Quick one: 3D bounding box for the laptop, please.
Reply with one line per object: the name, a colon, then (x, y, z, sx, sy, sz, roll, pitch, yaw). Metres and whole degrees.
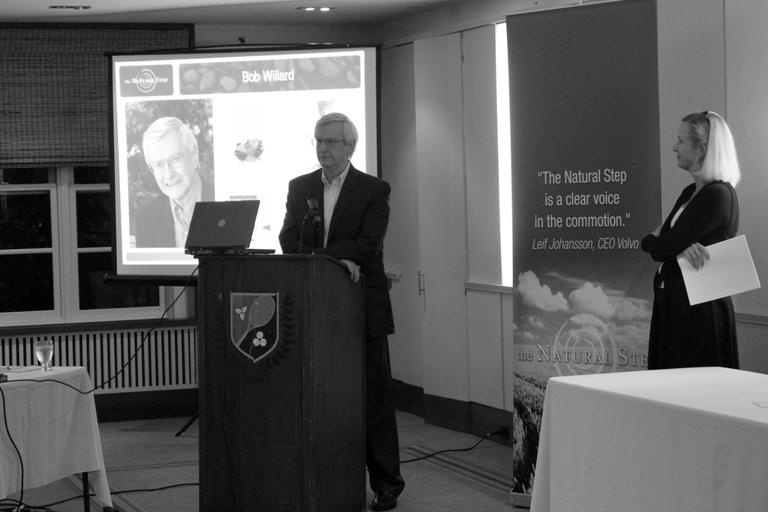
laptop: (-0.792, -0.115, 3.962, 0.409, 0.296, 0.333, 3, -16, 9)

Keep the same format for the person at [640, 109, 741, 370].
person: (1.617, -0.060, 4.011, 0.476, 1.389, 0.385, 1, 4, 26)

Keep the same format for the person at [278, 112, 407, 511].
person: (-0.268, 0.384, 4.342, 0.660, 2.383, 0.969, 0, 4, 11)

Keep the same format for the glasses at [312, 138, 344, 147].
glasses: (-0.301, -0.635, 4.217, 0.153, 0.033, 0.054, 0, 4, 12)
